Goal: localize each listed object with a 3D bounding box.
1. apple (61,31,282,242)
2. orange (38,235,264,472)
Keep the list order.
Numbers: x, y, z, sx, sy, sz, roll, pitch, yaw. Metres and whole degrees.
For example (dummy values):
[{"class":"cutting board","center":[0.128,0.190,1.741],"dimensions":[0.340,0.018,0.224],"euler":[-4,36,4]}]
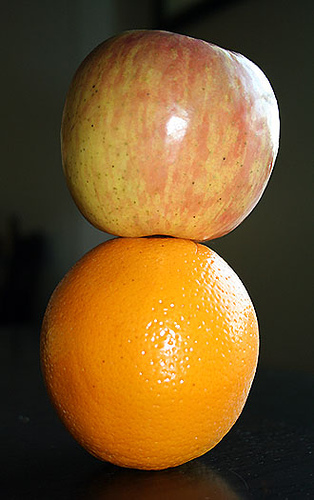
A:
[{"class":"apple","center":[0.021,-0.112,0.597],"dimensions":[0.222,0.207,0.218],"euler":[-1,8,-41]},{"class":"orange","center":[-0.009,0.115,0.584],"dimensions":[0.244,0.272,0.245],"euler":[-1,6,23]}]
